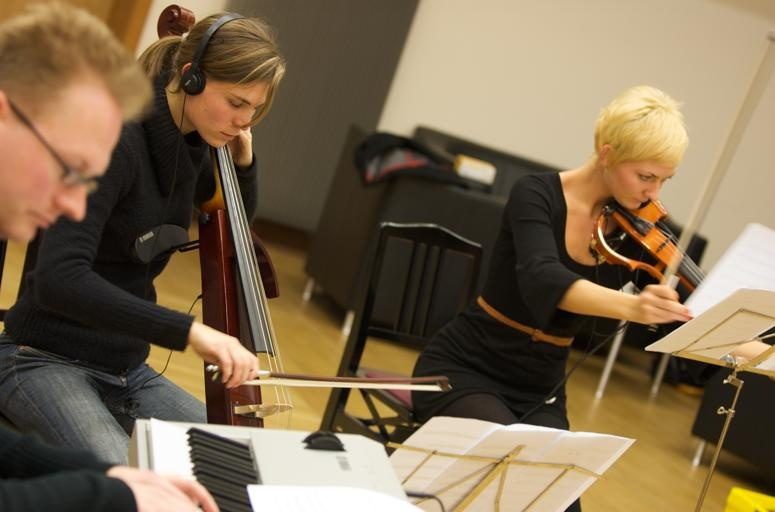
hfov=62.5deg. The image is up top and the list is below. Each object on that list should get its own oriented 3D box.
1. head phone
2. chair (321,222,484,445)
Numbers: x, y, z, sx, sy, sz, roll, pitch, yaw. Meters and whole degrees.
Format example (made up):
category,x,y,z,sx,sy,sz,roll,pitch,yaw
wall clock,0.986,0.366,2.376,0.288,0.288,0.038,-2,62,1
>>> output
category,x,y,z,sx,sy,sz,roll,pitch,yaw
head phone,-0.370,-0.420,1.352,0.054,0.155,0.170,29,21,-1
chair,0.047,0.258,1.811,0.379,0.627,0.425,17,12,4
